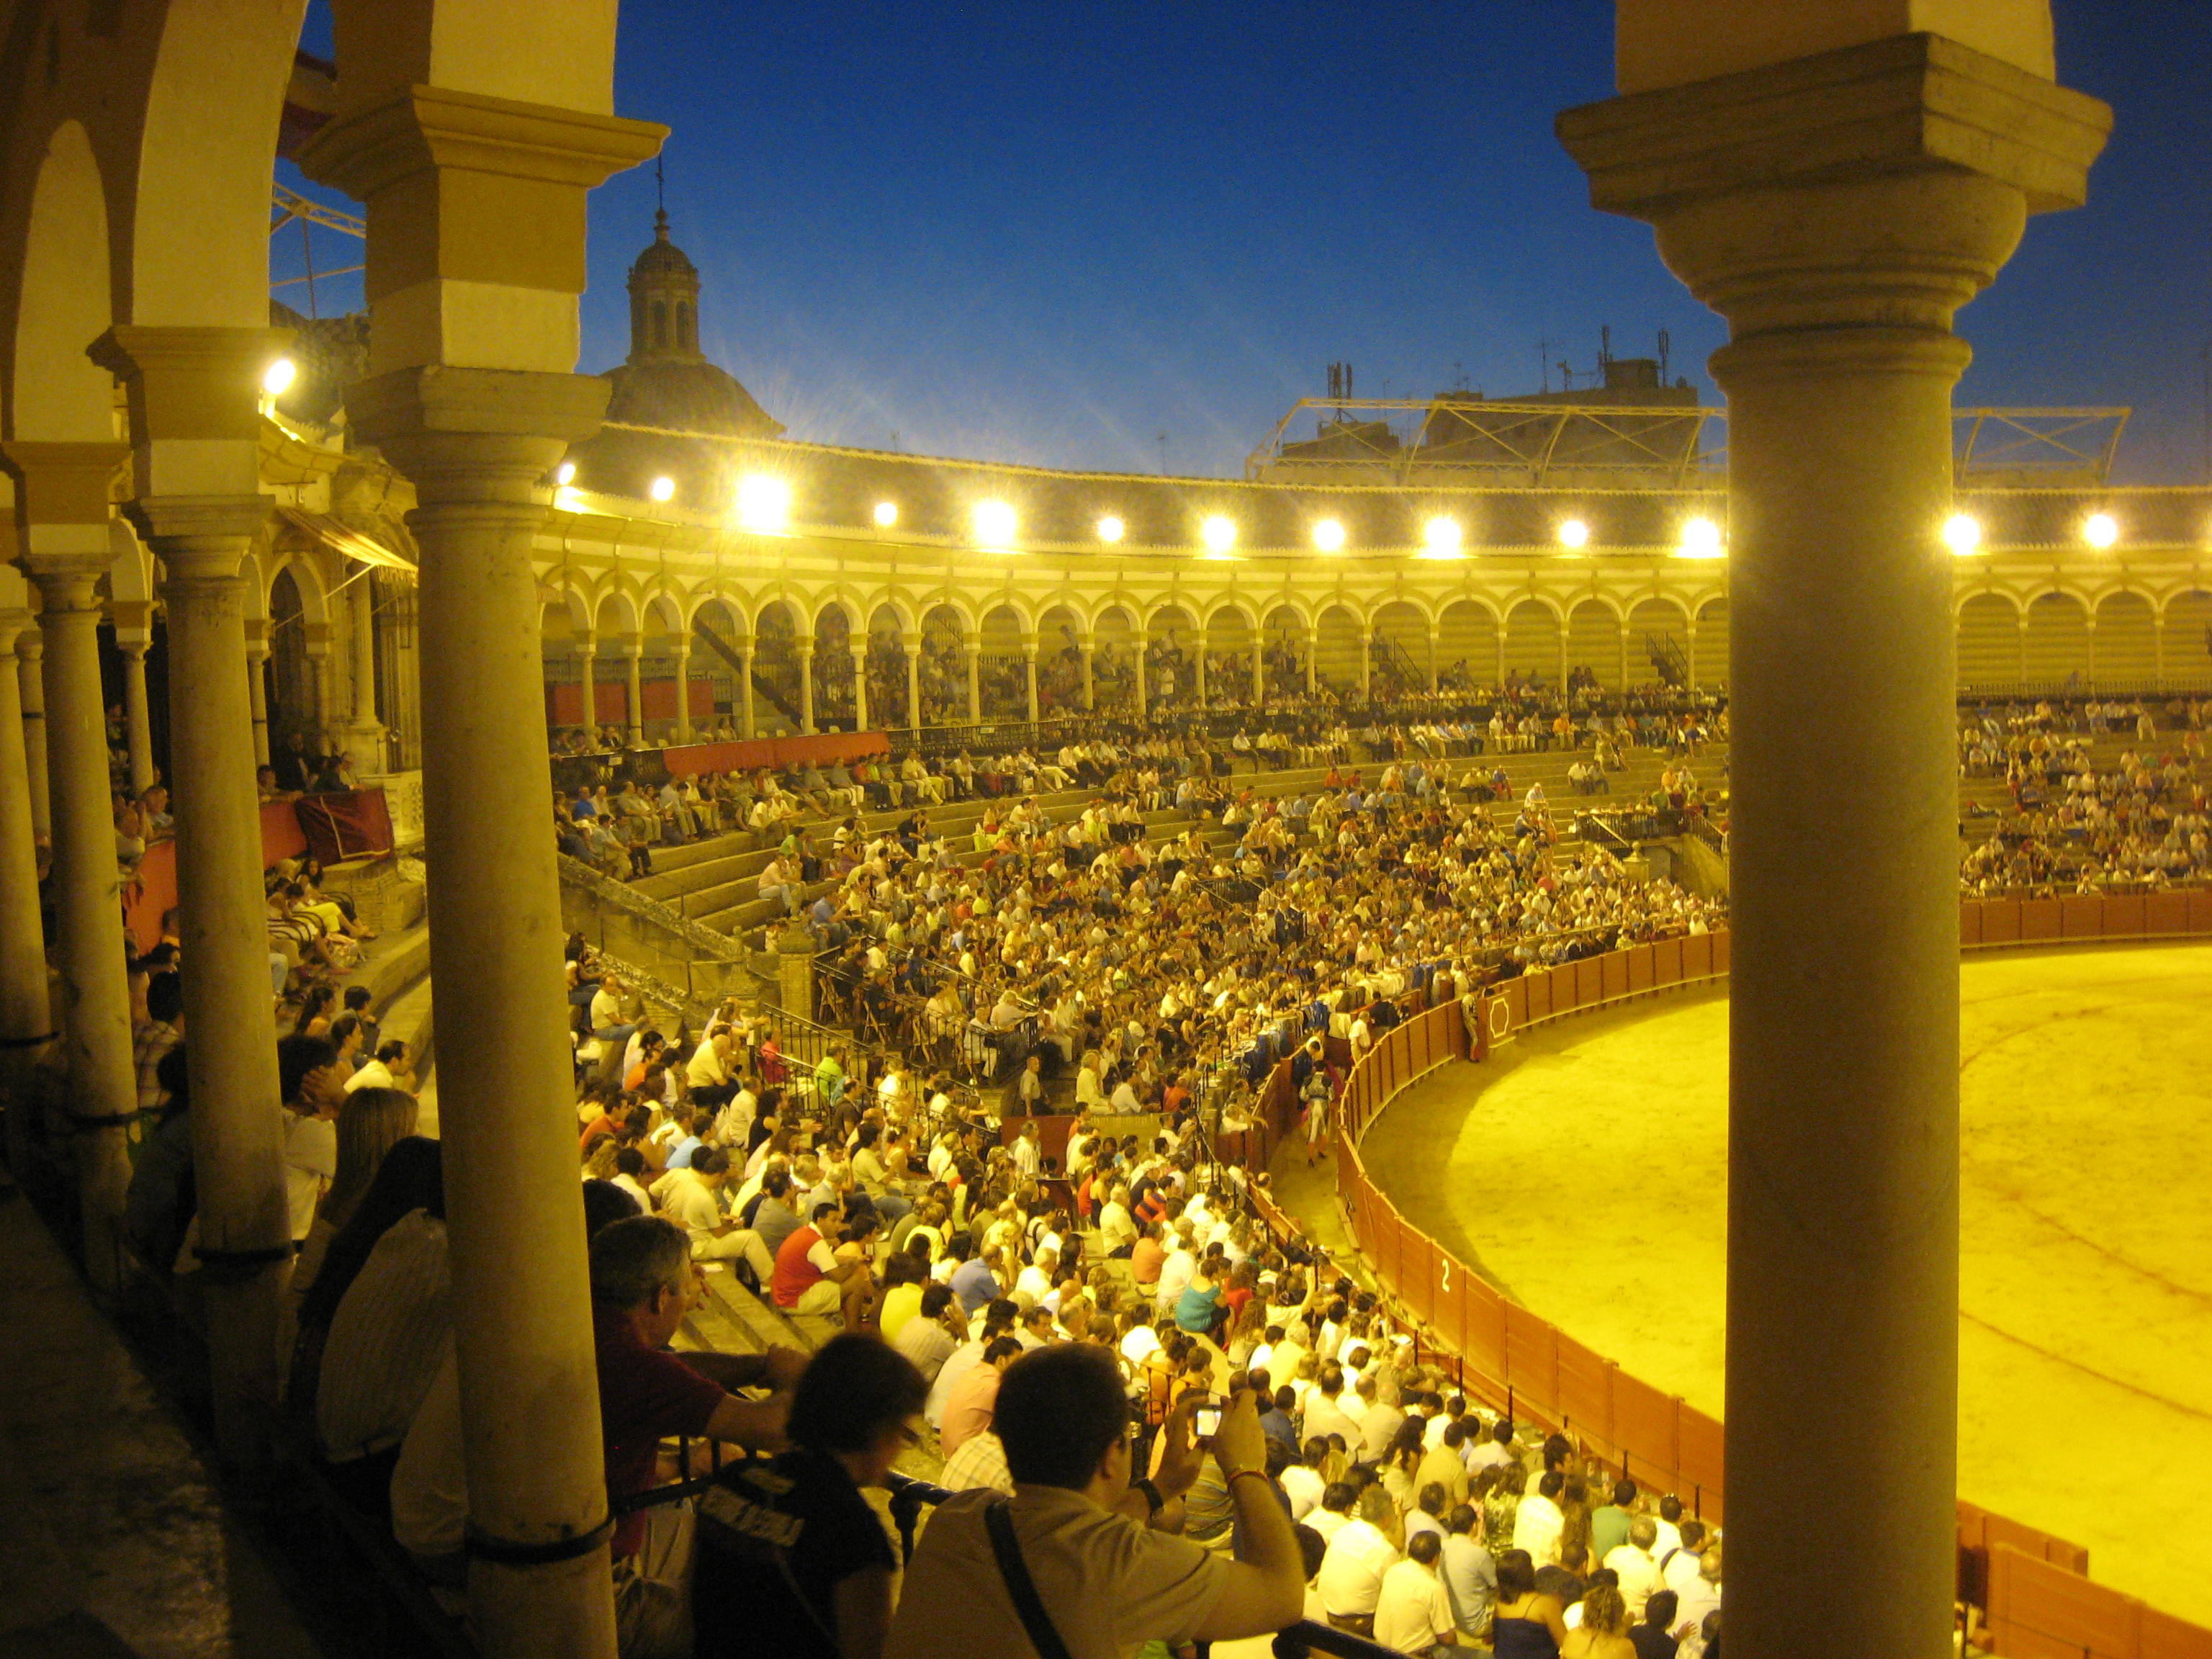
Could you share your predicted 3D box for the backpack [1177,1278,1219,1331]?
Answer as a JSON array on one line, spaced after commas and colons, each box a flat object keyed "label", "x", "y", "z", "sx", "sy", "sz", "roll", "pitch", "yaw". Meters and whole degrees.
[{"label": "backpack", "x": 0.696, "y": 3.624, "z": 14.038, "sx": 0.368, "sy": 0.510, "sz": 0.265, "roll": 2, "pitch": -12, "yaw": -2}]
